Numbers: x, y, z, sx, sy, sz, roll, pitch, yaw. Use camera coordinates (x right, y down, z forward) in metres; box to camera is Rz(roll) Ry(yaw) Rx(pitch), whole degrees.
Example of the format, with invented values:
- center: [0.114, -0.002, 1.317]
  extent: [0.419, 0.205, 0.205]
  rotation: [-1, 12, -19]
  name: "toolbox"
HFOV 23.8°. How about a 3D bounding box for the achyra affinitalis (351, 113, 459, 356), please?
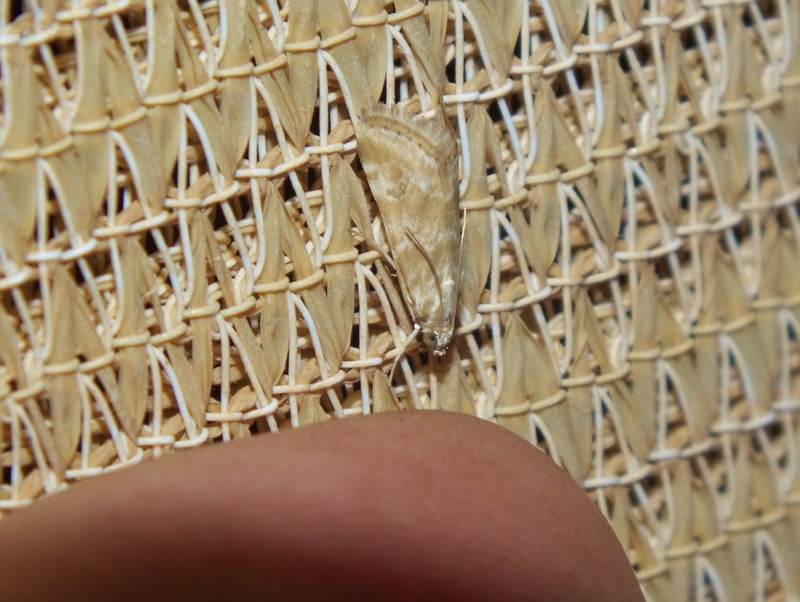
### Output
- center: [-0.001, -0.043, 1.065]
  extent: [0.053, 0.036, 0.136]
  rotation: [-13, -79, -11]
  name: "achyra affinitalis"
